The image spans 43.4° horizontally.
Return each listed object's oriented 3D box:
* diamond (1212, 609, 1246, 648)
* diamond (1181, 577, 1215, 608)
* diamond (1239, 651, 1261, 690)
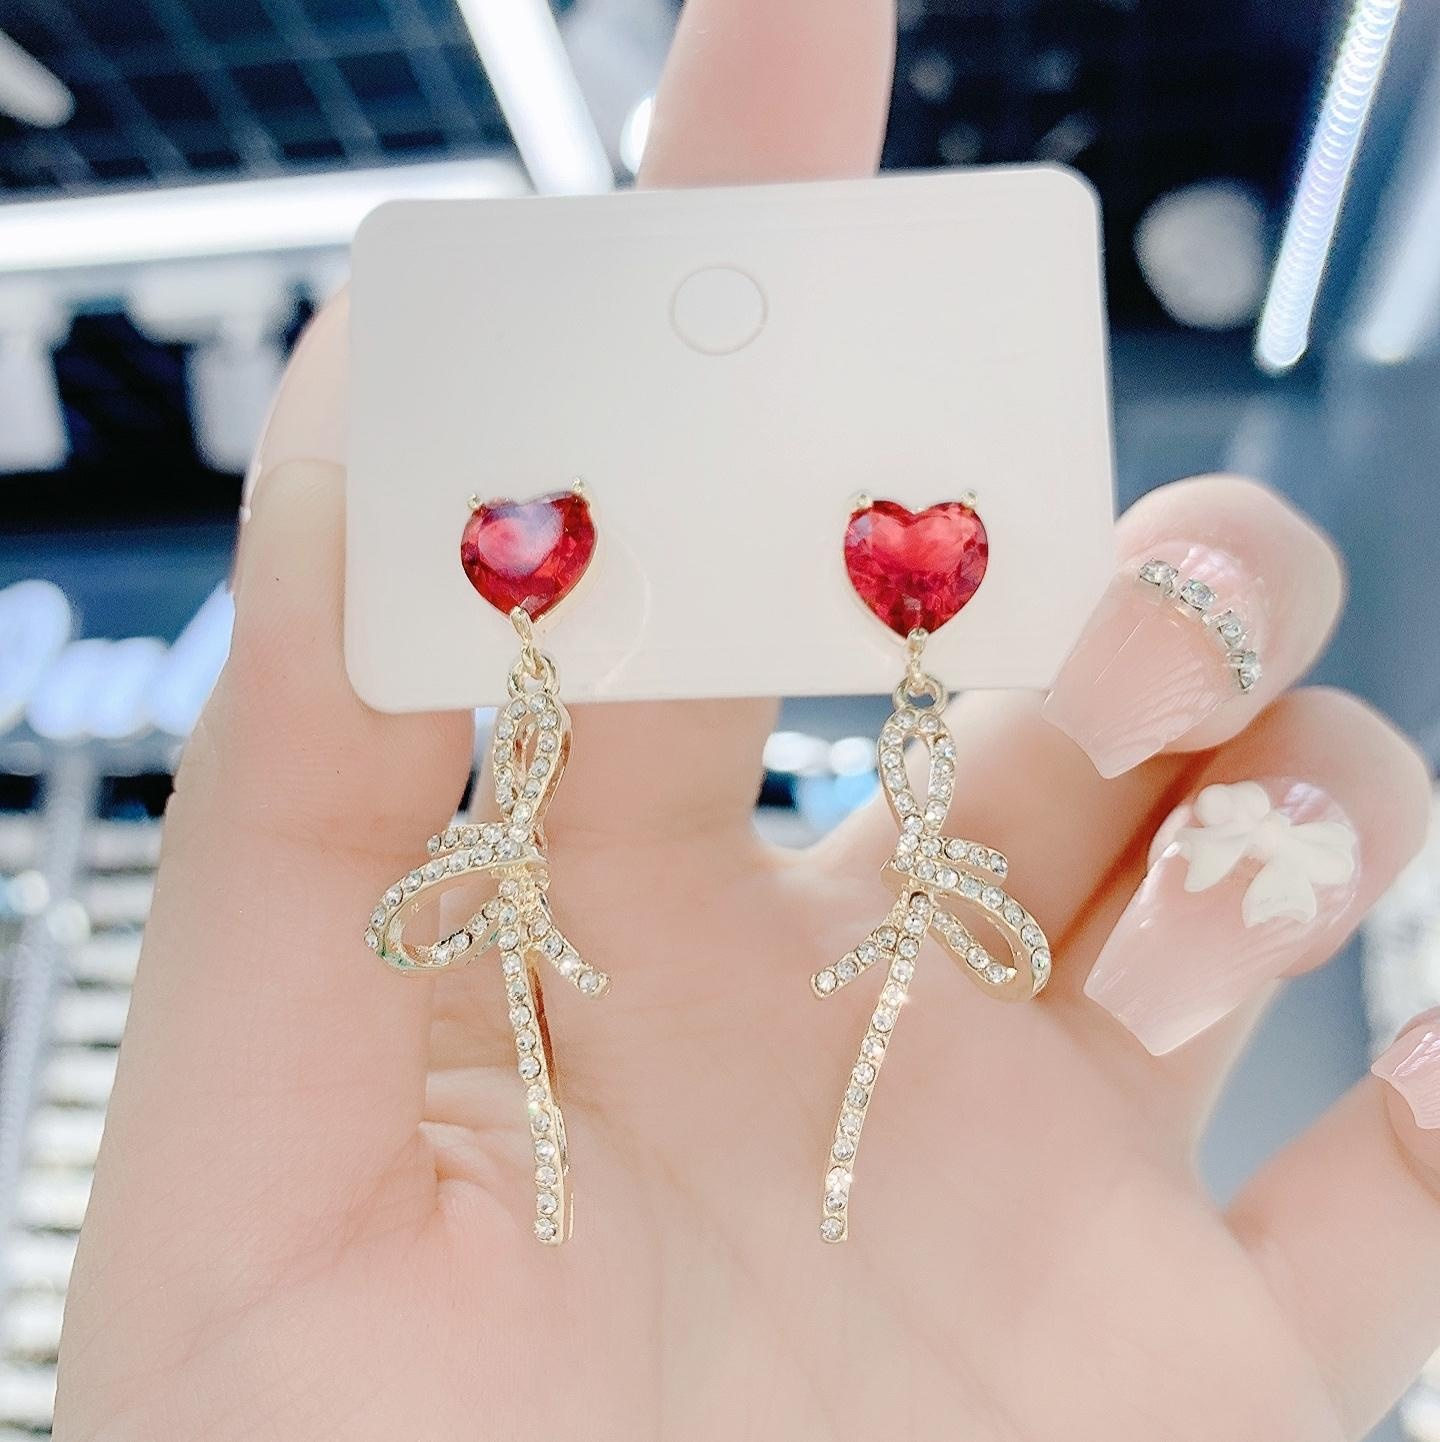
[{"bbox_3d":[0.379,-0.068,1.346,0.024,0.006,0.027,-4,85,-27],"label":"diamond"},{"bbox_3d":[0.354,-0.094,1.348,0.020,0.007,0.021,-35,81,-9],"label":"diamond"},{"bbox_3d":[0.395,-0.039,1.351,0.018,0.007,0.029,-8,104,-20],"label":"diamond"}]
